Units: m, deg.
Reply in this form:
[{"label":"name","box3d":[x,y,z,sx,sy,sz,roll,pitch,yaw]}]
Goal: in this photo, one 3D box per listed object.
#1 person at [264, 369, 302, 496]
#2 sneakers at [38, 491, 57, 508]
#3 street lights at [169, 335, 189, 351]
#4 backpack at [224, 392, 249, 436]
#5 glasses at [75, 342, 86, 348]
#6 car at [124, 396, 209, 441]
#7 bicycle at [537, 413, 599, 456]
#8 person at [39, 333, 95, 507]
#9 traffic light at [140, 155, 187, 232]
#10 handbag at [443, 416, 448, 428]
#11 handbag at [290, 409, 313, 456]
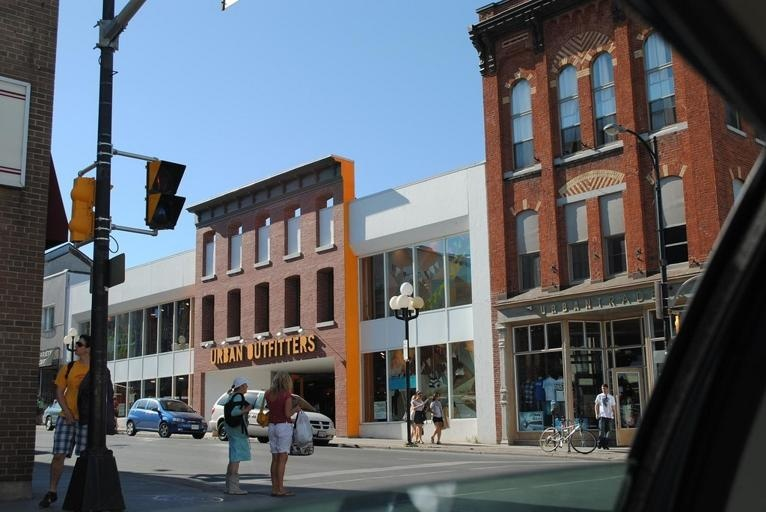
[{"label":"person","box3d":[-1.506,2.517,11.984,0.367,1.750,0.539,1,-16,-5]},{"label":"sneakers","box3d":[-4.123,3.030,10.352,0.145,0.179,0.406,-6,-17,1]},{"label":"street lights","box3d":[-10.013,4.258,41.047,0.681,0.690,0.368,-17,-24,38]},{"label":"backpack","box3d":[-2.187,2.318,12.281,0.389,0.677,0.577,2,-8,-20]},{"label":"glasses","box3d":[-3.852,1.137,10.679,0.089,0.031,0.095,-6,-19,30]},{"label":"car","box3d":[-8.324,6.271,32.305,1.605,1.263,2.961,13,-22,-39]},{"label":"bicycle","box3d":[4.822,4.728,21.773,1.493,0.825,0.747,-14,-21,35]},{"label":"person","box3d":[-4.000,2.044,10.576,0.465,2.197,1.334,6,-17,-21]},{"label":"traffic light","box3d":[-2.873,-0.838,10.959,0.493,0.998,0.372,4,-16,-17]},{"label":"handbag","box3d":[1.976,5.267,26.486,0.227,0.379,0.397,-1,-8,6]},{"label":"handbag","box3d":[-1.216,2.604,12.692,0.331,0.706,0.437,-2,2,-4]}]
